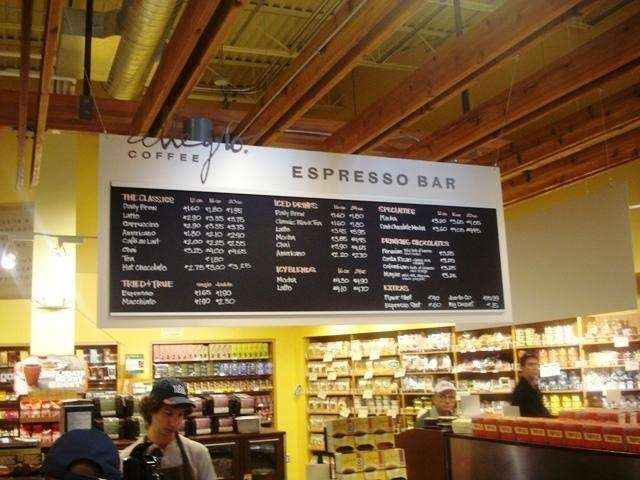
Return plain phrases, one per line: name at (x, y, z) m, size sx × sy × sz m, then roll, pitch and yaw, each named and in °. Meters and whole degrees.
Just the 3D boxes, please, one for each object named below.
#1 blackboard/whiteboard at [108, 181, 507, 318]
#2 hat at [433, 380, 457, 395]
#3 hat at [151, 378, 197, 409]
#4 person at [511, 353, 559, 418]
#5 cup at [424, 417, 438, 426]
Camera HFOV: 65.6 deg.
blackboard/whiteboard at (-0.025, 0.094, 3.434) m, size 2.672 × 0.862 × 0.050 m, roll 1°, pitch -14°, yaw -17°
hat at (1.290, 1.524, 5.245) m, size 0.228 × 0.096 × 0.312 m, roll 1°, pitch -12°, yaw -3°
hat at (-0.894, 0.948, 3.063) m, size 0.283 × 0.128 × 0.197 m, roll -5°, pitch -19°, yaw 41°
person at (2.311, 1.614, 5.518) m, size 0.381 × 0.666 × 0.552 m, roll -8°, pitch -14°, yaw 18°
cup at (0.943, 1.566, 4.251) m, size 0.074 × 0.068 × 0.166 m, roll 5°, pitch -15°, yaw -33°
